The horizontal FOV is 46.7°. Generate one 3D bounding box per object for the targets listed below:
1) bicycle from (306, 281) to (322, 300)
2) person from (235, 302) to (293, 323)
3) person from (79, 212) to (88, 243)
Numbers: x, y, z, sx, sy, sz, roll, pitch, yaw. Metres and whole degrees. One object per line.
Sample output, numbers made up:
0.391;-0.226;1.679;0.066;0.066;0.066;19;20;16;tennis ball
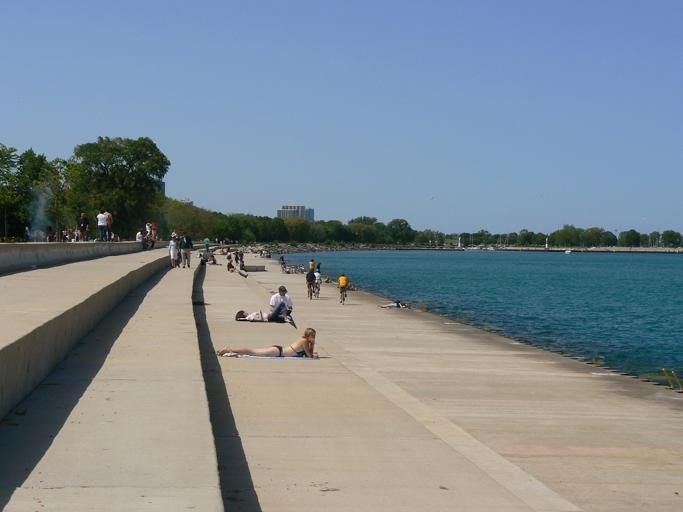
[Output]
-1.370;1.808;43.271;0.575;0.602;1.056;1;8;1;bicycle
-2.524;1.878;26.429;1.868;0.557;0.736;-3;-1;10;person
-13.692;-1.563;42.128;0.387;1.449;2.045;7;3;-20;person
